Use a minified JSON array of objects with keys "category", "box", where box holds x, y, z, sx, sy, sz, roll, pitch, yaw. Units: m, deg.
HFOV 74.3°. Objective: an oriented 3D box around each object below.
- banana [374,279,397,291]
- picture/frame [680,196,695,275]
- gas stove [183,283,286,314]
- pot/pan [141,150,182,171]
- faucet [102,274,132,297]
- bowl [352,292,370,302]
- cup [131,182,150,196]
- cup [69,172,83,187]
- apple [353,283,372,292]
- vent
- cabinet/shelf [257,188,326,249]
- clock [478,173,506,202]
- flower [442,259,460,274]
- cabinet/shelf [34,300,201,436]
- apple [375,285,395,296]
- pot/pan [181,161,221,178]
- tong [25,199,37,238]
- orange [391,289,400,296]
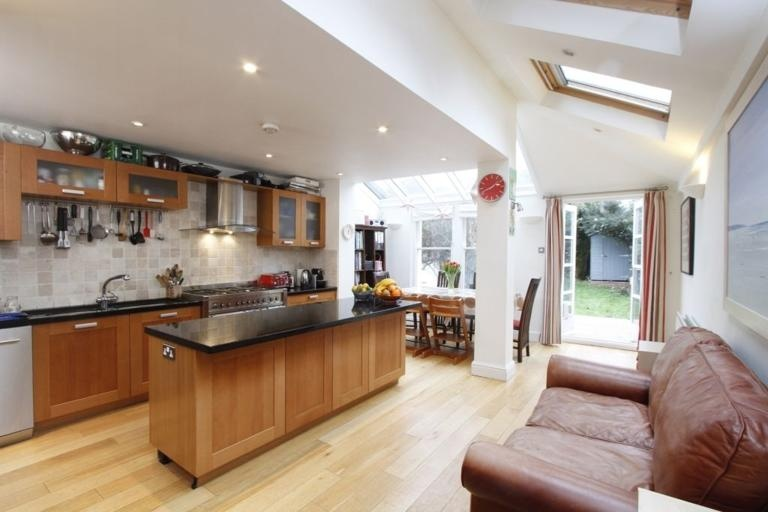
[{"category":"banana","box":[0.043,0.312,5.543,0.124,0.069,0.209,-3,3,28]},{"category":"picture/frame","box":[3.321,-0.226,5.506,0.079,1.059,0.975,1,1,29]},{"category":"gas stove","box":[-1.844,0.519,6.154,0.592,0.336,1.195,-2,-1,37]},{"category":"pot/pan","box":[-2.504,-1.054,5.604,0.328,0.108,0.232,3,-1,9]},{"category":"faucet","box":[-2.841,0.298,5.344,0.285,0.249,0.349,-2,0,-26]},{"category":"bowl","box":[-0.234,0.453,5.569,0.192,0.089,0.202,-2,0,0]},{"category":"cup","box":[-2.594,-0.729,5.413,0.126,0.108,0.200,-16,29,-33]},{"category":"cup","box":[-3.037,-0.744,4.983,0.125,0.131,0.122,2,7,0]},{"category":"apple","box":[-0.238,0.357,5.619,0.144,0.069,0.141,0,-4,-31]},{"category":"vent","box":[-1.954,-0.622,6.208,0.555,0.642,1.014,-1,-1,36]},{"category":"cabinet/shelf","box":[-1.292,-0.499,7.100,0.398,0.734,1.021,1,0,34]},{"category":"clock","box":[1.277,-0.801,5.917,0.380,0.367,0.053,-2,-7,42]},{"category":"flower","box":[0.986,0.148,7.290,0.231,0.189,0.221,2,-4,-12]},{"category":"cabinet/shelf","box":[-2.632,1.160,5.338,1.649,1.023,0.852,-9,-24,-17]},{"category":"apple","box":[0.029,0.373,5.419,0.150,0.072,0.139,-2,-7,22]},{"category":"pot/pan","box":[-2.173,-1.000,5.938,0.269,0.097,0.234,1,-1,-27]},{"category":"tong","box":[-3.478,-0.362,4.967,0.123,0.436,0.023,-3,1,-33]},{"category":"orange","box":[0.139,0.387,5.399,0.073,0.071,0.130,-2,0,36]}]
